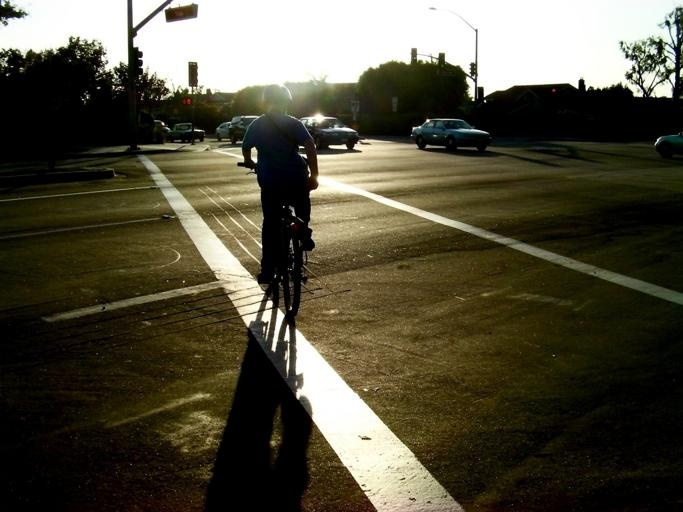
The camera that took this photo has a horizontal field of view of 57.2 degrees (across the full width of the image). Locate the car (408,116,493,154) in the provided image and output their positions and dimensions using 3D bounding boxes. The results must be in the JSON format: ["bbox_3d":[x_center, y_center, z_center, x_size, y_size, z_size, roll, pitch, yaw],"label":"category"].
[{"bbox_3d":[5.588,-6.136,31.619,1.944,1.218,4.100,-5,11,-28],"label":"car"}]

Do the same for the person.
[{"bbox_3d":[-0.592,-0.642,6.375,0.519,2.136,1.048,-11,18,-37],"label":"person"}]
